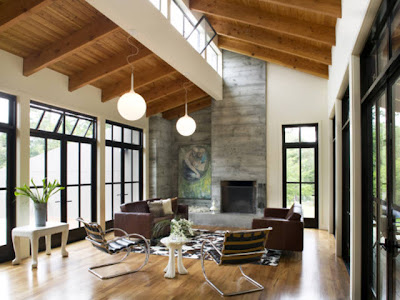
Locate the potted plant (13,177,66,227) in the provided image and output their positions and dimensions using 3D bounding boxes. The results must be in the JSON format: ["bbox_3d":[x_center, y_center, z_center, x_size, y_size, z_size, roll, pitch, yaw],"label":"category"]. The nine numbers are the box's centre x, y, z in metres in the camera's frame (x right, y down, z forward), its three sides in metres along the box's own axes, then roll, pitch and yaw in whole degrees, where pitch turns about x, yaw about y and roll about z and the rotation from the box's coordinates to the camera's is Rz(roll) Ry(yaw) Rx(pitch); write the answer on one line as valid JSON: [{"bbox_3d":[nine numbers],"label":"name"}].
[{"bbox_3d":[-3.358,1.061,6.682,0.893,0.952,0.940,0,-5,-5],"label":"potted plant"}]

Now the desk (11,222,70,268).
[{"bbox_3d":[-3.261,2.089,6.414,0.645,0.808,1.090,-1,-3,15],"label":"desk"}]

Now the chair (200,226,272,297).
[{"bbox_3d":[0.470,1.827,5.535,0.892,1.254,1.188,3,-7,-21],"label":"chair"}]

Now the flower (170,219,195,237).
[{"bbox_3d":[-0.341,1.443,5.894,0.381,0.291,0.398,3,-2,-14],"label":"flower"}]

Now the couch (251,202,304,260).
[{"bbox_3d":[1.807,1.434,6.948,0.835,0.724,1.626,-1,-6,20],"label":"couch"}]

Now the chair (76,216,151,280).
[{"bbox_3d":[-1.674,1.811,6.000,1.095,1.033,0.786,2,-4,-44],"label":"chair"}]

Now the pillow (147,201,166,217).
[{"bbox_3d":[-1.183,1.585,8.481,0.162,0.411,0.389,-22,-16,38],"label":"pillow"}]

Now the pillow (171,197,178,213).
[{"bbox_3d":[-0.761,1.616,9.145,0.124,0.381,0.368,0,-5,16],"label":"pillow"}]

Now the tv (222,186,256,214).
[{"bbox_3d":[1.288,1.629,10.193,0.812,0.780,0.301,0,1,11],"label":"tv"}]

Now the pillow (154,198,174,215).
[{"bbox_3d":[-0.994,1.606,8.884,0.602,0.613,0.317,-2,-4,-44],"label":"pillow"}]
